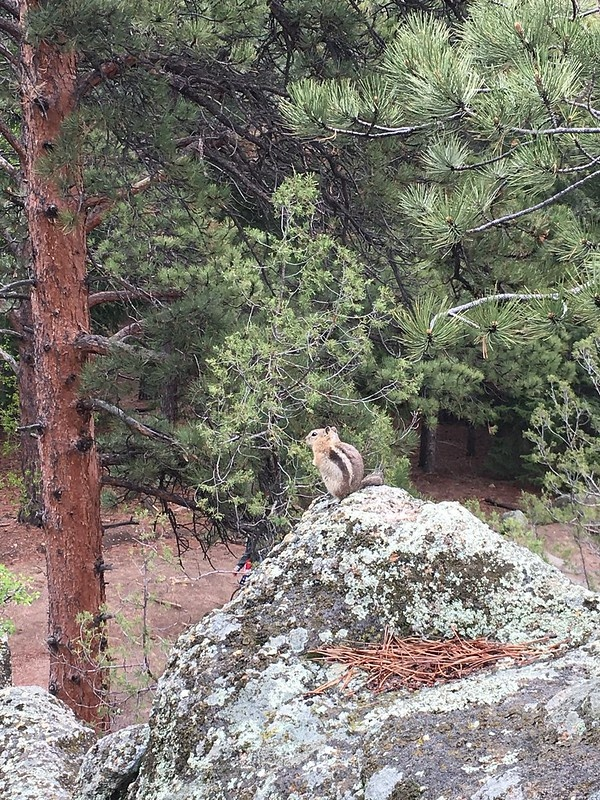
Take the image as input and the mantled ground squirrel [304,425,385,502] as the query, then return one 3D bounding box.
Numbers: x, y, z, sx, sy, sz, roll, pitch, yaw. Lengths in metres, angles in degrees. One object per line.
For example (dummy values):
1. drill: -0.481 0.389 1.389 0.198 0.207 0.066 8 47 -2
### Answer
1. mantled ground squirrel: 0.263 0.392 8.322 0.554 0.459 0.197 22 34 16
